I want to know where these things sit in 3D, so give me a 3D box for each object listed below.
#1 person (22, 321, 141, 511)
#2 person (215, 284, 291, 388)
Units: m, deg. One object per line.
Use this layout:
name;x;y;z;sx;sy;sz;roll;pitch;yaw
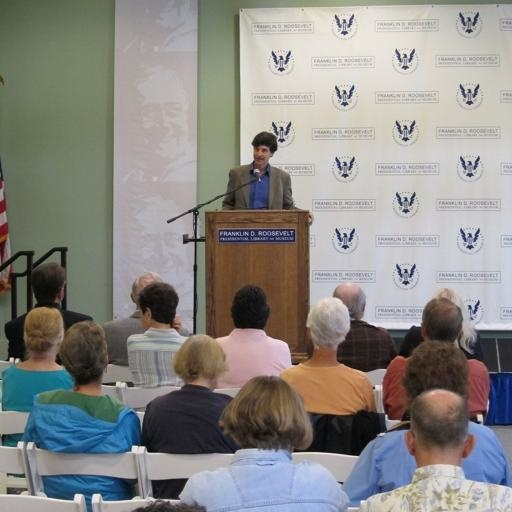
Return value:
person;-0.714;0.659;3.475;0.348;1.045;0.450;3;30;1
person;-0.014;0.374;4.269;0.322;0.866;0.405;1;6;2
